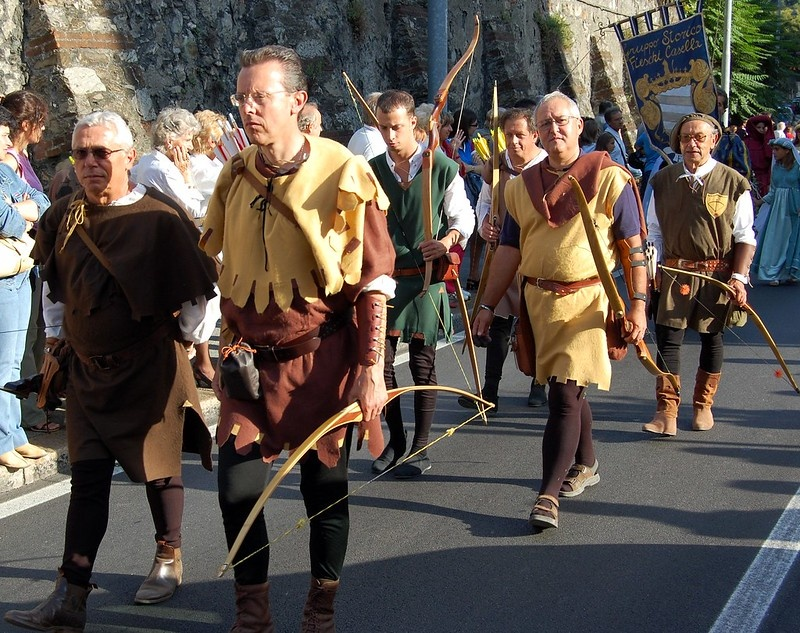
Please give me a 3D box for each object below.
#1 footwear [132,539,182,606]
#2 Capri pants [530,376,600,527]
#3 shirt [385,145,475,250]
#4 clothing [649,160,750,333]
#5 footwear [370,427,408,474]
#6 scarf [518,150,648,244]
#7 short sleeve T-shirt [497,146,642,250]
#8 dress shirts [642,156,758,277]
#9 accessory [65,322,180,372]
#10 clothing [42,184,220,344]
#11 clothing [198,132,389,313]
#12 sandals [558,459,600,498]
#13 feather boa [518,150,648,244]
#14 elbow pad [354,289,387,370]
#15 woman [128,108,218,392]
[{"bbox_3d":[-1.157,1.265,4.587,0.126,0.209,0.357,1,-3,7],"label":"footwear"},{"bbox_3d":[0.939,0.710,5.214,0.288,0.784,0.770,3,14,18],"label":"Capri pants"},{"bbox_3d":[0.347,-0.742,5.864,0.569,0.597,0.201,1,8,7],"label":"shirt"},{"bbox_3d":[2.108,-0.518,6.519,0.619,1.181,0.380,1,6,23],"label":"clothing"},{"bbox_3d":[-0.058,0.831,5.951,0.141,0.185,0.448,9,20,25],"label":"footwear"},{"bbox_3d":[0.961,-0.648,5.255,0.611,0.588,0.428,1,11,11],"label":"scarf"},{"bbox_3d":[0.952,-0.662,5.263,0.813,0.568,0.424,0,30,17],"label":"short sleeve T-shirt"},{"bbox_3d":[2.124,-0.772,6.514,0.824,0.898,0.496,22,53,36],"label":"dress shirts"},{"bbox_3d":[-1.240,0.142,4.338,0.277,0.098,0.316,-16,12,43],"label":"accessory"},{"bbox_3d":[-1.265,-0.225,4.321,0.713,0.793,0.435,0,5,0],"label":"clothing"},{"bbox_3d":[-0.466,-0.408,3.975,0.827,0.727,0.515,-5,-2,17],"label":"clothing"},{"bbox_3d":[1.068,0.973,5.556,0.119,0.140,0.330,1,7,41],"label":"sandals"},{"bbox_3d":[1.015,-0.680,5.130,0.649,0.431,0.252,1,14,7],"label":"feather boa"},{"bbox_3d":[-0.114,0.050,3.832,0.127,0.300,0.249,-2,14,-3],"label":"elbow pad"},{"bbox_3d":[-1.605,-0.466,6.827,0.507,2.043,0.675,-16,19,-39],"label":"woman"}]
